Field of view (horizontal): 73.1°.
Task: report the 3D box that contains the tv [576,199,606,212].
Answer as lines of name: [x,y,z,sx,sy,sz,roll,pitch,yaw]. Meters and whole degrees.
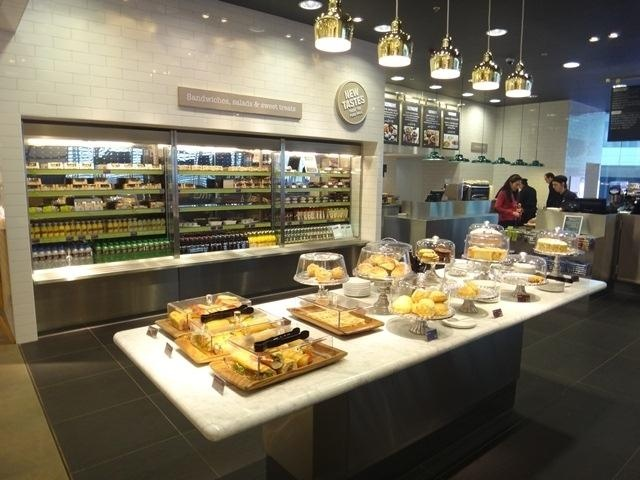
tv: [4.401,-0.552,7.010,0.492,0.215,0.337,6,4,37]

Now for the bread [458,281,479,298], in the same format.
bread: [1.175,0.398,3.426,0.142,0.050,0.130,4,33,24]

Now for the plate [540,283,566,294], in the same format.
plate: [2.177,0.446,4.024,0.175,0.020,0.162,-4,6,-15]

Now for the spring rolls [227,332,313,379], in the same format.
spring rolls: [-0.308,0.691,2.609,0.519,0.188,0.208,-3,11,-13]

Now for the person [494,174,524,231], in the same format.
person: [3.875,-0.758,8.882,0.575,1.092,0.417,1,2,39]

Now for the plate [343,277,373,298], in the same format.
plate: [0.293,0.391,3.723,0.211,0.087,0.199,-3,10,-26]

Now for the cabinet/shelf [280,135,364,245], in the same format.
cabinet/shelf: [-0.014,-0.875,7.232,1.930,1.458,0.666,-5,14,-35]

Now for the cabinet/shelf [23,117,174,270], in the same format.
cabinet/shelf: [-2.811,-0.488,5.537,1.660,1.552,0.403,-7,14,-30]

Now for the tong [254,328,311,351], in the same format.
tong: [-0.220,0.600,2.684,0.105,0.079,0.429,6,11,43]

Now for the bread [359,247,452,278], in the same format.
bread: [0.678,0.209,3.695,0.537,0.216,0.681,-3,7,-44]

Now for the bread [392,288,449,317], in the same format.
bread: [0.733,0.418,3.136,0.371,0.187,0.341,14,5,11]
